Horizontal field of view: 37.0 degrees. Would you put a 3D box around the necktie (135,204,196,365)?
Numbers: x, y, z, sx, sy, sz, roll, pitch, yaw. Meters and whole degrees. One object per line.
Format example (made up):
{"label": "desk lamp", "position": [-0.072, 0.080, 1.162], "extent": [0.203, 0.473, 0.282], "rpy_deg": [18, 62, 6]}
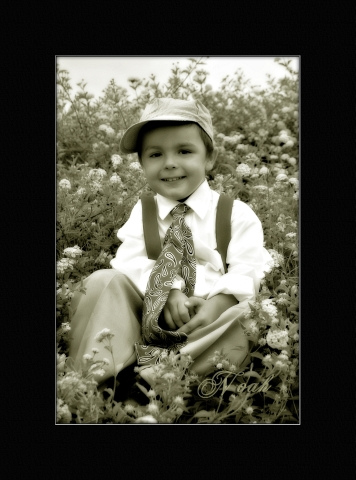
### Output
{"label": "necktie", "position": [-0.008, 0.114, 2.186], "extent": [0.164, 0.579, 0.191], "rpy_deg": [-1, -13, 26]}
